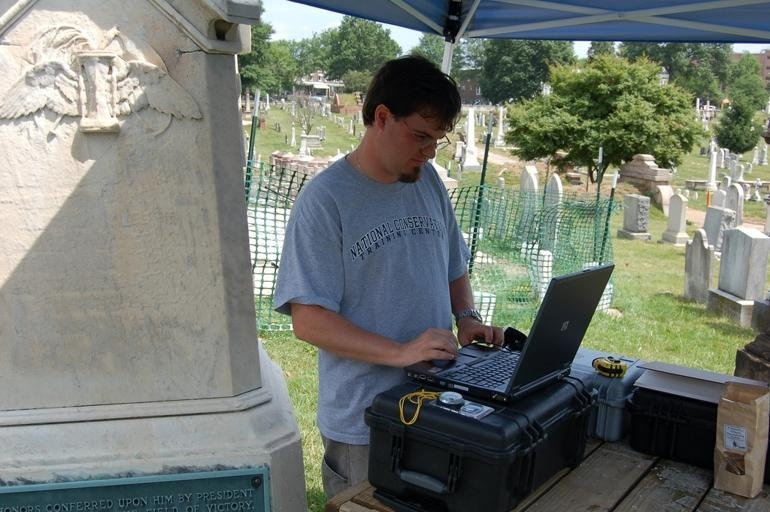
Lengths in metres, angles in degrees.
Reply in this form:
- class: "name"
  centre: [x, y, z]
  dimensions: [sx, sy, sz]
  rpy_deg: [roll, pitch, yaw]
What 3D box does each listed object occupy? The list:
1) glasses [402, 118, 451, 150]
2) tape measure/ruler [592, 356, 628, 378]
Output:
- class: "glasses"
  centre: [0.189, -0.565, 3.027]
  dimensions: [0.047, 0.155, 0.153]
  rpy_deg: [-33, -6, 17]
- class: "tape measure/ruler"
  centre: [1.097, 0.544, 3.275]
  dimensions: [0.097, 0.045, 0.115]
  rpy_deg: [1, 13, -3]
